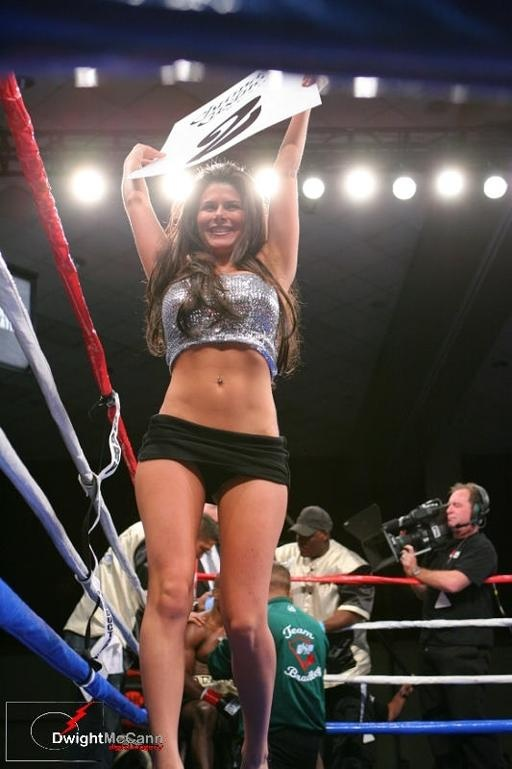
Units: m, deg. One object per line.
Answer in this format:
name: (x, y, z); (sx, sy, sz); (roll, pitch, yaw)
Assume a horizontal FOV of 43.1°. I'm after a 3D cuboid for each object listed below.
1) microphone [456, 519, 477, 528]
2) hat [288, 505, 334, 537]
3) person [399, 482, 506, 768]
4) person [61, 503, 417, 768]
microphone: (1.108, 0.741, 3.415); (0.075, 0.048, 0.033); (-21, -75, 6)
hat: (0.320, 0.817, 3.841); (0.229, 0.129, 0.155); (9, -12, -23)
person: (0.986, 1.108, 3.200); (0.490, 1.397, 0.487); (-5, -44, 11)
person: (-0.297, 1.403, 3.517); (1.499, 1.468, 0.372); (1, -86, -1)
